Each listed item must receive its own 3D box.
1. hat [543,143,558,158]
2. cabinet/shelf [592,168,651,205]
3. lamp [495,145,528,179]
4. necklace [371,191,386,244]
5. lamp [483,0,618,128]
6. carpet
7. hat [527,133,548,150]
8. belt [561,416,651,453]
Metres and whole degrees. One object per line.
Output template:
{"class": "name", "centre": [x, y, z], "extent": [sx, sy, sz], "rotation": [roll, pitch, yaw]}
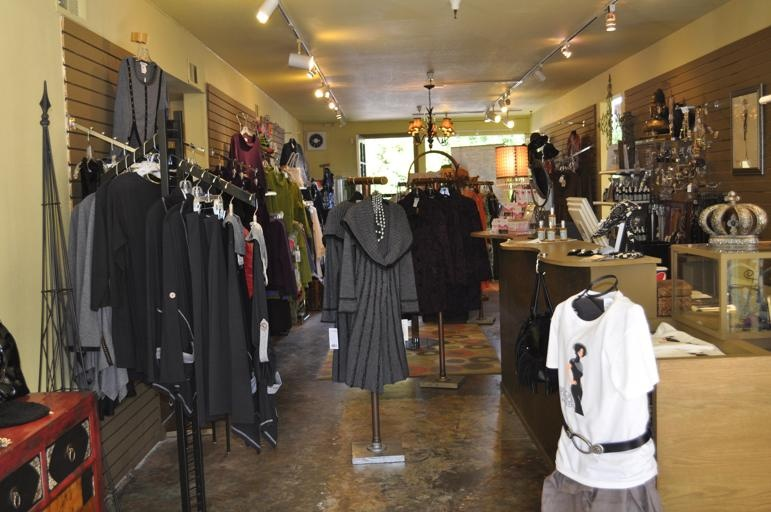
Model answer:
{"class": "hat", "centre": [3.043, -1.979, 10.715], "extent": [0.244, 0.317, 0.411], "rotation": [-1, 9, 8]}
{"class": "cabinet/shelf", "centre": [3.517, -1.049, 8.515], "extent": [0.431, 0.457, 1.297], "rotation": [0, 0, -7]}
{"class": "lamp", "centre": [2.381, -1.811, 11.068], "extent": [0.646, 0.699, 0.638], "rotation": [-3, 9, -6]}
{"class": "necklace", "centre": [-0.051, -0.308, 4.476], "extent": [0.103, 0.378, 0.147], "rotation": [-4, 10, -5]}
{"class": "lamp", "centre": [2.546, -3.009, 8.753], "extent": [0.625, 0.294, 3.849], "rotation": [4, -7, -12]}
{"class": "carpet", "centre": [0.618, 1.182, 7.305], "extent": [1.879, 0.156, 2.626], "rotation": [1, 10, 20]}
{"class": "hat", "centre": [2.815, -2.179, 10.648], "extent": [0.320, 0.133, 0.351], "rotation": [-25, 15, 30]}
{"class": "belt", "centre": [1.150, 0.963, 3.020], "extent": [0.429, 0.147, 0.143], "rotation": [1, 10, 24]}
